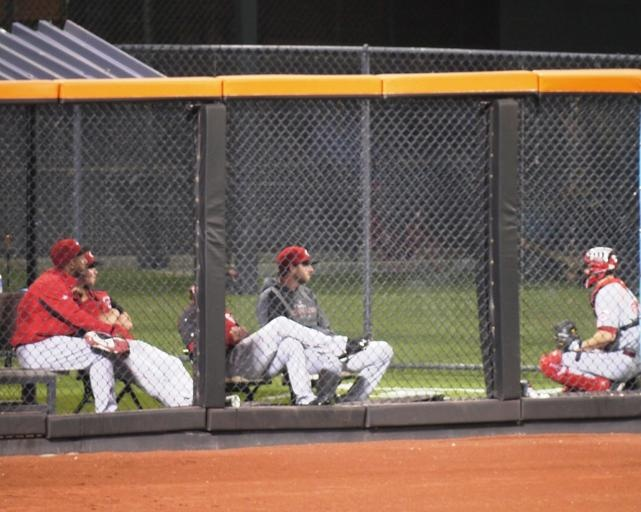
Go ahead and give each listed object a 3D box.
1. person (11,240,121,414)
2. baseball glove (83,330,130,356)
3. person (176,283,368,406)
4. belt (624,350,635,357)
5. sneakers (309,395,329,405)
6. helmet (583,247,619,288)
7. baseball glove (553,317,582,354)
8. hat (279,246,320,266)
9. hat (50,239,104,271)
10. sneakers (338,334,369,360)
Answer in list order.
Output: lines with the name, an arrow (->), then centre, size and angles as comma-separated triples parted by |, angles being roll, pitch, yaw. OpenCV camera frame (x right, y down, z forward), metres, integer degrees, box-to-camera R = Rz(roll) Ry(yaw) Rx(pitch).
person -> -2.094, 0.568, 13.078 | 0.937, 1.427, 0.619 | -3, -6, 11
baseball glove -> -1.715, 0.708, 12.918 | 0.280, 0.124, 0.185 | 19, 12, -7
person -> -0.443, 0.638, 13.217 | 1.475, 1.137, 0.649 | 0, 6, 10
belt -> 2.524, 0.808, 13.272 | 0.069, 0.042, 0.016 | 36, -22, 18
sneakers -> -0.020, 1.159, 12.922 | 0.159, 0.071, 0.058 | 4, -3, -17
helmet -> 2.348, 0.104, 13.809 | 0.335, 0.388, 0.288 | 4, 1, 16
baseball glove -> 2.090, 0.689, 13.636 | 0.185, 0.271, 0.261 | -15, -4, -2
hat -> -0.238, 0.030, 13.659 | 0.230, 0.129, 0.167 | -8, 6, -2
hat -> -2.069, 0.001, 13.470 | 0.337, 0.188, 0.208 | -12, 8, -19
sneakers -> 0.273, 0.782, 13.225 | 0.132, 0.245, 0.061 | 38, -25, 30
